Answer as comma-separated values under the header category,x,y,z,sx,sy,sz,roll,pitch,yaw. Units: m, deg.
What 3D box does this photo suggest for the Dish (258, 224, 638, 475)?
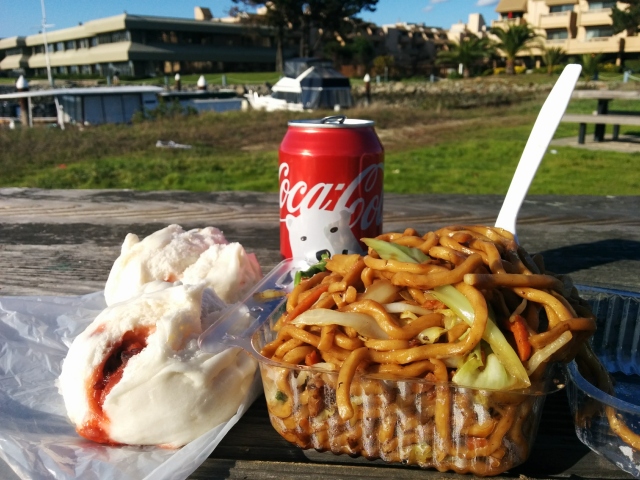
category,x,y,z,sx,sy,sz,roll,pitch,yaw
Dish,0.351,0.316,2.465,1.004,0.389,0.637,2,26,11

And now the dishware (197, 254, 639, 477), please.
category,x,y,z,sx,sy,sz,roll,pitch,yaw
dishware,0.226,0.303,2.422,1.069,0.224,0.630,4,18,12
